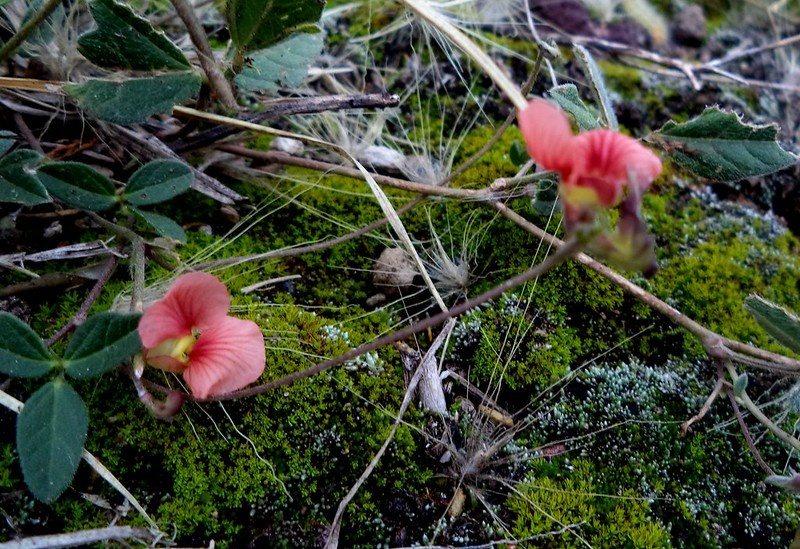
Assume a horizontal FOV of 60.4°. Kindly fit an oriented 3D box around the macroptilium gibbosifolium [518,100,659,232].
[{"bbox_3d":[0.440,-0.285,1.835,0.335,0.169,0.358,-11,55,-37],"label":"macroptilium gibbosifolium"}]

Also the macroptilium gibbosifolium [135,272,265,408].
[{"bbox_3d":[-0.586,0.204,1.995,0.348,0.156,0.373,-25,96,-31],"label":"macroptilium gibbosifolium"}]
